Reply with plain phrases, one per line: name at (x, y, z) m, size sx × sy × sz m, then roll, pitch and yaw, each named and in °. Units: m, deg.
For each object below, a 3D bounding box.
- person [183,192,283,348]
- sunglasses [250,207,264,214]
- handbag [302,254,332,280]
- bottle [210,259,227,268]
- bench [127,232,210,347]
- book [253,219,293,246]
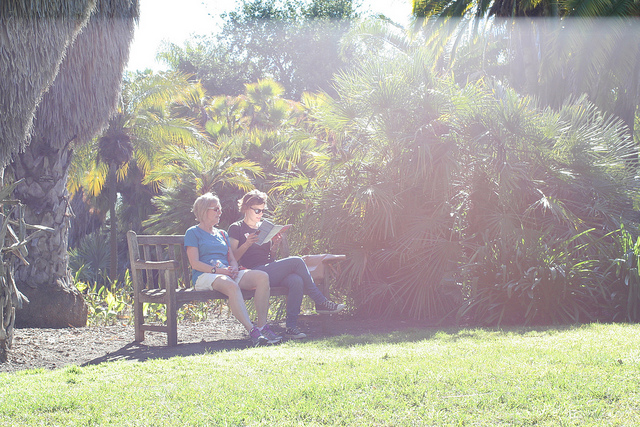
person at (-1.043, 0.613, 6.742) m, size 1.120 × 1.657 × 0.557 m, roll 1°, pitch 6°, yaw 32°
sunglasses at (-0.773, -0.032, 7.247) m, size 0.108 × 0.085 × 0.212 m, roll 2°, pitch 6°, yaw 42°
handbag at (-0.049, 0.682, 7.649) m, size 0.350 × 0.453 × 0.319 m, roll 1°, pitch 23°, yaw 6°
bottle at (-1.202, 0.601, 6.774) m, size 0.127 × 0.051 × 0.094 m, roll 29°, pitch 9°, yaw 3°
bench at (-1.800, 0.927, 7.487) m, size 0.625 × 1.263 × 1.786 m, roll 0°, pitch -3°, yaw 10°
book at (-0.614, 0.239, 7.247) m, size 0.421 × 0.288 × 0.303 m, roll -3°, pitch 4°, yaw -5°
